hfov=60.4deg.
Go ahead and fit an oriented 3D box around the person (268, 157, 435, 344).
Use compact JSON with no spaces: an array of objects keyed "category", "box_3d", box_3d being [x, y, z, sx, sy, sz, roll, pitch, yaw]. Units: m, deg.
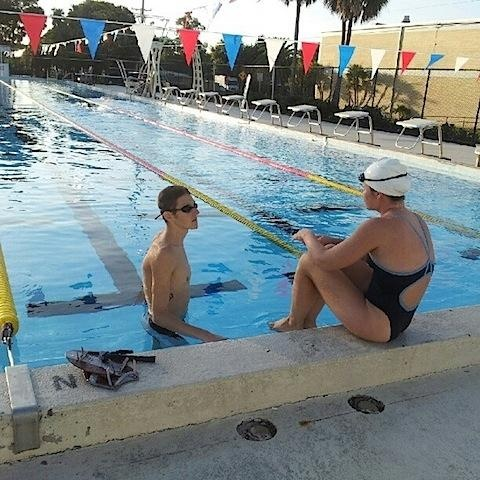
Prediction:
[{"category":"person","box_3d":[0.562,-0.002,2.143,0.656,0.844,0.975,-11,17,-43]}]
